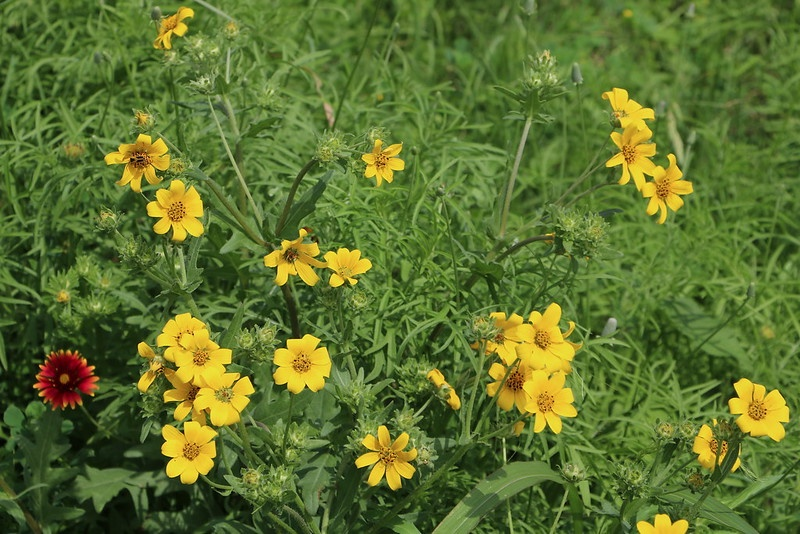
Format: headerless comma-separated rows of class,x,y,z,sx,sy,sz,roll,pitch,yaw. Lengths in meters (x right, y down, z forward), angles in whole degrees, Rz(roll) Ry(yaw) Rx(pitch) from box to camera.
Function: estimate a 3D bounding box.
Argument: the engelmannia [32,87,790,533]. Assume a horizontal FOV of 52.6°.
engelmannia,-0.173,0.243,3.804,1.961,0.935,2.323,-2,63,-10
